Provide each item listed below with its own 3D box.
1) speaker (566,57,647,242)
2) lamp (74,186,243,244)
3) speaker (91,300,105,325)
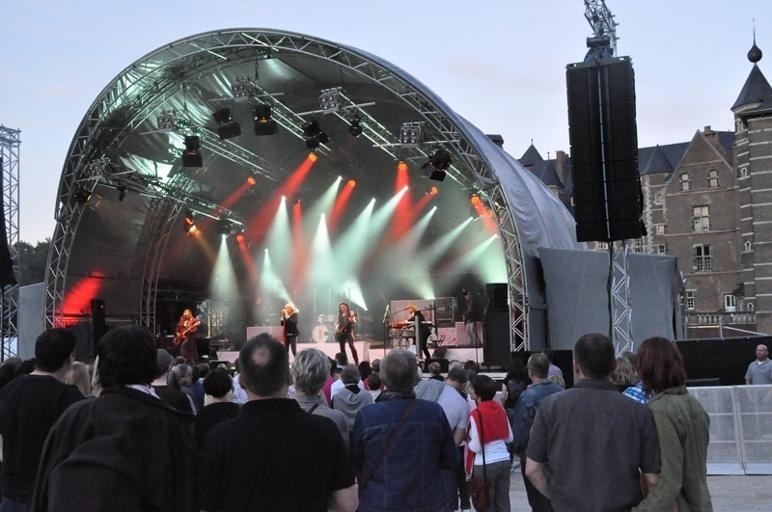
[{"bbox_3d":[4.038,-1.999,14.585,1.212,3.437,0.674,-4,-12,12],"label":"speaker"},{"bbox_3d":[-6.878,-1.305,23.187,0.618,0.668,3.865,-48,-40,15],"label":"lamp"},{"bbox_3d":[-7.660,1.466,20.877,0.344,0.673,0.311,3,-12,-22],"label":"speaker"}]
